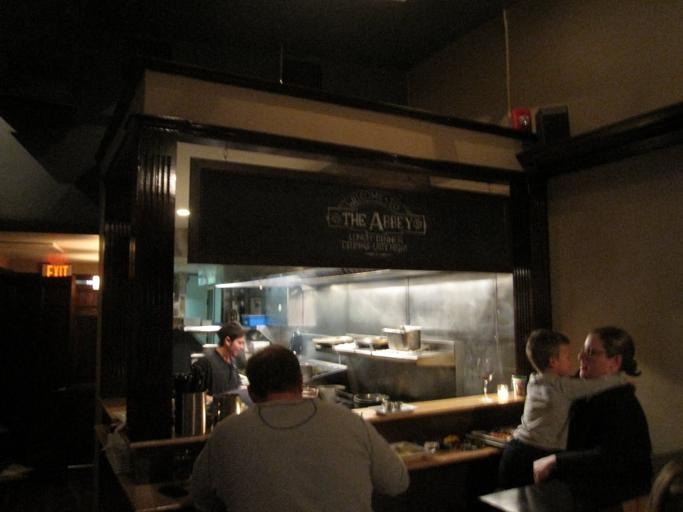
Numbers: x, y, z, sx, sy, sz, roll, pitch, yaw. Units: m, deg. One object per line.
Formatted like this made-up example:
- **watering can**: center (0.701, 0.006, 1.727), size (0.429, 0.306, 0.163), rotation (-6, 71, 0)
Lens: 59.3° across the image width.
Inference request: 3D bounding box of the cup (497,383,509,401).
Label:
- **cup**: center (1.510, 1.289, 5.622), size (0.122, 0.145, 0.125), rotation (1, -7, 0)

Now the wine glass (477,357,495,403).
- **wine glass**: center (1.387, 1.167, 5.741), size (0.166, 0.372, 0.586), rotation (-2, -6, 13)

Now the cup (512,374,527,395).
- **cup**: center (1.670, 1.220, 5.639), size (0.147, 0.171, 0.168), rotation (2, -15, -2)

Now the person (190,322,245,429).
- **person**: center (-1.095, 1.042, 5.264), size (0.427, 1.128, 0.517), rotation (-5, -9, 18)

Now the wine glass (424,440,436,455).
- **wine glass**: center (0.743, 1.600, 5.000), size (0.112, 0.086, 0.137), rotation (-2, -6, 8)
